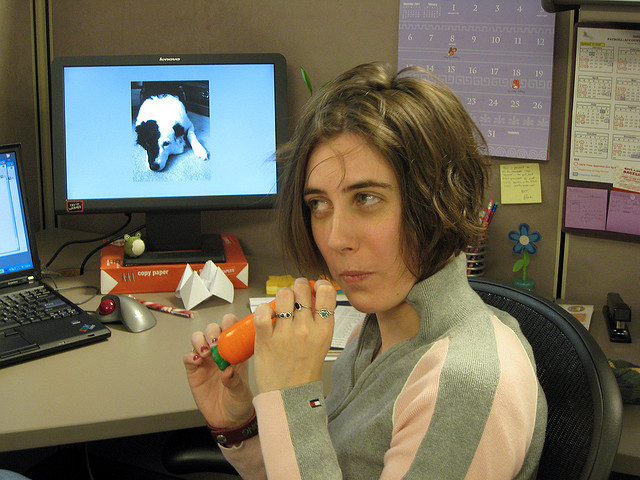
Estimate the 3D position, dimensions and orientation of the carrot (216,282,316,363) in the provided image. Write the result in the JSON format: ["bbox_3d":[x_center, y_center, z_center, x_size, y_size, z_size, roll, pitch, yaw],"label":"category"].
[{"bbox_3d":[-0.094,0.137,0.929,0.206,0.058,0.057,-38,17,8],"label":"carrot"}]

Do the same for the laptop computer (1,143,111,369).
[{"bbox_3d":[-0.645,0.002,1.276,0.214,0.419,0.341,-11,14,-31],"label":"laptop computer"}]

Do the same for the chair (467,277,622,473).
[{"bbox_3d":[0.328,0.212,0.899,0.220,0.253,0.226,7,31,25],"label":"chair"}]

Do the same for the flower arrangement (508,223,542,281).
[{"bbox_3d":[0.510,0.028,1.415,0.074,0.135,0.038,7,15,38],"label":"flower arrangement"}]

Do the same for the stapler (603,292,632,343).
[{"bbox_3d":[0.643,0.163,1.238,0.040,0.067,0.157,0,21,9],"label":"stapler"}]

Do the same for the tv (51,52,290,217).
[{"bbox_3d":[-0.401,-0.281,1.474,0.410,0.301,0.049,-1,2,-5],"label":"tv"}]
